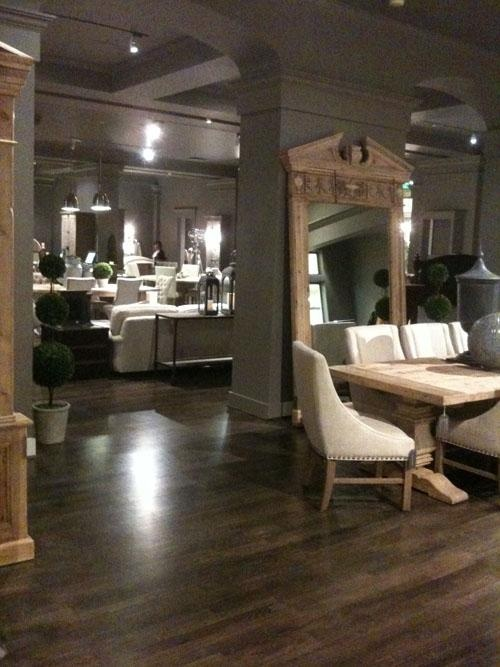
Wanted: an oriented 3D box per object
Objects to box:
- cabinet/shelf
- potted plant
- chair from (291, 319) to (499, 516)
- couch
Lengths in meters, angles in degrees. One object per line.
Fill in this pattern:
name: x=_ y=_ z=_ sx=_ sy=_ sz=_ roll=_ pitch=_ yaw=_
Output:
cabinet/shelf: x=-0.413 y=0.183 z=6.518 sx=1.175 sy=0.684 sz=0.415 roll=2 pitch=1 yaw=-19
potted plant: x=-1.492 y=0.102 z=3.858 sx=0.399 sy=1.362 sz=0.345 roll=-1 pitch=0 yaw=-20
chair: x=0.757 y=0.452 z=3.000 sx=1.128 sy=0.880 sz=0.909 roll=-5 pitch=10 yaw=-23
couch: x=-1.047 y=0.062 z=6.278 sx=1.888 sy=0.804 sz=0.616 roll=2 pitch=-16 yaw=-33
